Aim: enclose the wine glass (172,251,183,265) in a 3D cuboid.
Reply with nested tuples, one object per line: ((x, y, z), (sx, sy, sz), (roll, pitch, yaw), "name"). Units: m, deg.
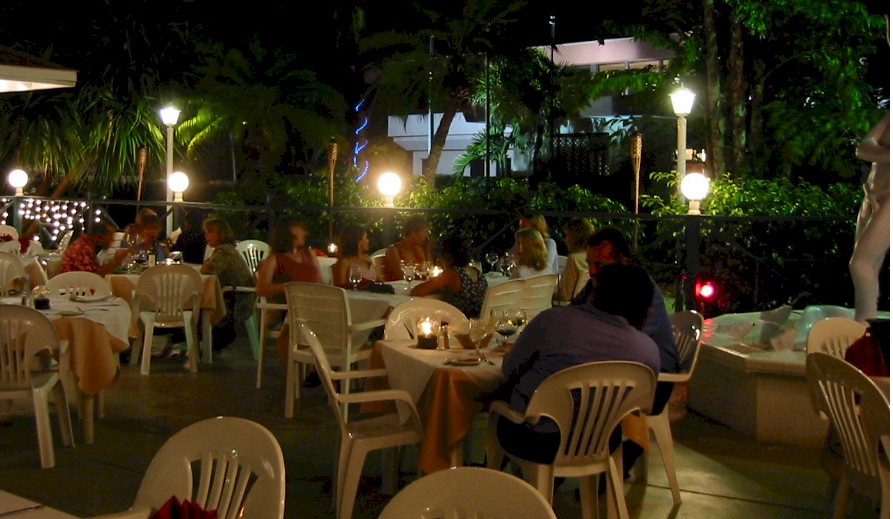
((-3.773, -0.023, 9.922), (0.150, 0.153, 0.272), (11, -14, -24), "wine glass")

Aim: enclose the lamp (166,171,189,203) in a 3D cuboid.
((-5.410, -1.447, 14.211), (0.349, 0.618, 1.341), (3, 2, -23), "lamp")

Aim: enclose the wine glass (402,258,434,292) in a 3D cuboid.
((-0.354, 0.164, 8.776), (0.358, 0.559, 0.336), (-1, 0, 9), "wine glass")

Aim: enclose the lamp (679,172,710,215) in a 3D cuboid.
((3.584, -0.938, 10.221), (0.393, 0.590, 0.399), (0, -4, 43), "lamp")

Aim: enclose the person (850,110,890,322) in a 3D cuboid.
((3.869, -0.383, 6.457), (0.322, 1.871, 0.528), (6, 3, 30), "person")

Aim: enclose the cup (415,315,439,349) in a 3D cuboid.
((-0.153, 0.613, 5.915), (0.190, 0.239, 0.159), (5, 2, 0), "cup")

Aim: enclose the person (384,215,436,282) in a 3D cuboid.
((-0.463, -0.132, 9.256), (0.639, 0.934, 0.550), (-4, 16, -39), "person")

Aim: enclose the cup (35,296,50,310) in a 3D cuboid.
((-4.001, 0.434, 7.005), (0.107, 0.136, 0.186), (-2, 4, -32), "cup")

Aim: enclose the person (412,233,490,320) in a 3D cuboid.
((0.025, 0.175, 7.571), (0.685, 0.885, 0.672), (14, 20, 37), "person")
